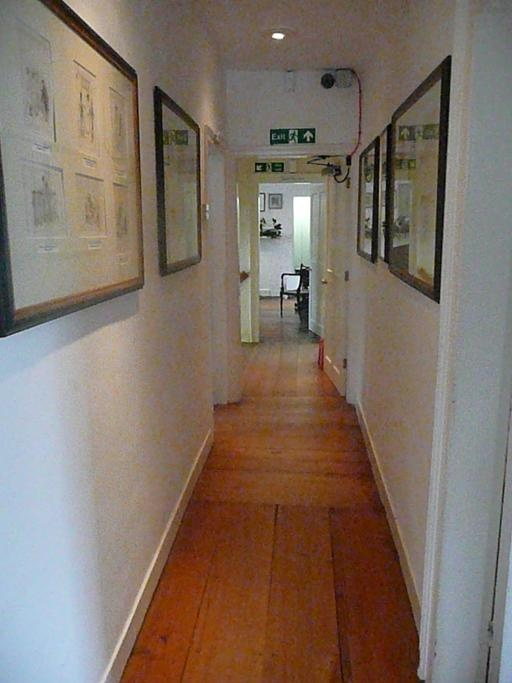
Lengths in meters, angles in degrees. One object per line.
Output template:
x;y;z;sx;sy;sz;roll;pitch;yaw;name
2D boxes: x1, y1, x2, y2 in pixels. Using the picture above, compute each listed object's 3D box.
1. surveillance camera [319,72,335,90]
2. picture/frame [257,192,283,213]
0.569;-2.061;3.997;0.117;0.118;0.077;-2;9;-11;surveillance camera
0.305;-2.878;10.472;0.474;0.418;0.112;2;8;15;picture/frame
